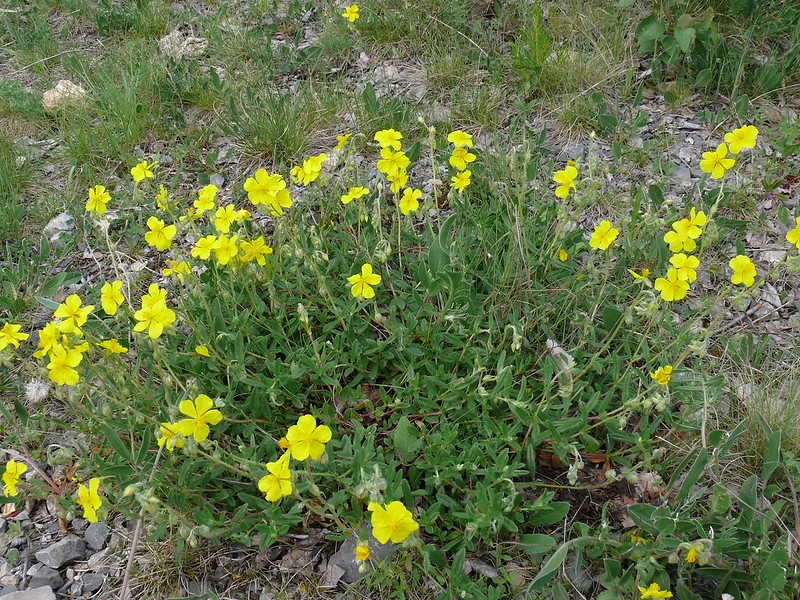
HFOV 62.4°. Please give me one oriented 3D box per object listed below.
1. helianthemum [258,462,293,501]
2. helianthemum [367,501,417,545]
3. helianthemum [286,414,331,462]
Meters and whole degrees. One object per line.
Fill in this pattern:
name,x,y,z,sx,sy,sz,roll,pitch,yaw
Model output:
helianthemum,-0.519,0.770,2.794,0.130,0.135,0.161,-1,62,5
helianthemum,-0.037,0.909,2.736,0.185,0.203,0.108,-10,98,-15
helianthemum,-0.395,0.558,2.783,0.188,0.222,0.057,-7,33,-16
